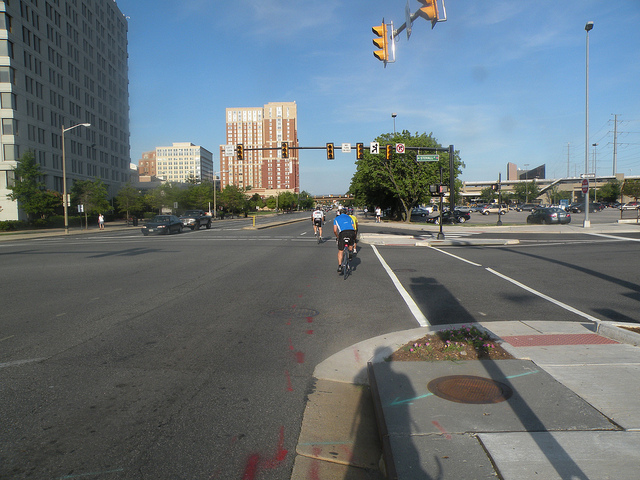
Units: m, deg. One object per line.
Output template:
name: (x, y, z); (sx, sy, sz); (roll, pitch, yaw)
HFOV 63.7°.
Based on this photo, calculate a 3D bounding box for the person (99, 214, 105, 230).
person: (-19.955, -1.555, 47.087); (0.371, 1.292, 1.375); (-5, 10, -23)

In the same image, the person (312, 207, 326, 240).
person: (-0.062, -0.984, 25.487); (0.881, 1.228, 1.895); (-1, 2, 2)

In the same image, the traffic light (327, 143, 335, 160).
traffic light: (0.648, -5.313, 31.014); (0.383, 0.887, 0.383); (-1, 9, 3)

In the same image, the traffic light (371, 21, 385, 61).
traffic light: (1.675, -5.434, 14.456); (0.312, 1.126, 0.258); (-3, -4, 4)

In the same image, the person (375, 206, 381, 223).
person: (6.260, -2.571, 55.826); (0.314, 1.398, 1.619); (0, 10, 11)

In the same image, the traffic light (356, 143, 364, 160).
traffic light: (2.434, -5.370, 31.288); (0.312, 0.874, 1.420); (0, 10, 9)

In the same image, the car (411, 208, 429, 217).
car: (15.326, -4.176, 79.303); (3.017, 1.184, 1.531); (1, 11, 9)

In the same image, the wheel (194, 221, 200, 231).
wheel: (-10.136, -1.157, 42.352); (0.237, 0.702, 0.666); (5, -1, 5)

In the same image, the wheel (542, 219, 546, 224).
wheel: (17.484, -1.427, 40.259); (0.158, 0.341, 0.430); (-2, 9, -1)

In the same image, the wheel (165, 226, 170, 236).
wheel: (-10.203, -0.623, 34.380); (0.175, 0.551, 0.524); (-7, 3, 7)

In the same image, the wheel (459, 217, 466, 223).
wheel: (14.458, -2.071, 52.563); (0.548, 0.585, 0.190); (-13, 9, -44)

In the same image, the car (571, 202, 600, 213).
car: (35.380, -4.238, 68.450); (2.976, 1.059, 3.644); (5, 12, 35)

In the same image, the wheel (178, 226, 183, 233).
wheel: (-10.152, -0.784, 37.354); (0.137, 0.431, 0.412); (-1, 11, 9)

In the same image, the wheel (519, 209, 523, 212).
wheel: (35.436, -5.257, 90.884); (0.448, 0.114, 0.469); (-11, -10, -2)

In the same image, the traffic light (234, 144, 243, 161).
traffic light: (-4.781, -5.131, 30.235); (0.400, 0.881, 2.406); (-3, 10, -11)

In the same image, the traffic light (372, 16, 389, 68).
traffic light: (1.712, -5.418, 14.354); (0.405, 1.102, 0.501); (-1, 9, 4)

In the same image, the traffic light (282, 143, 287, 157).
traffic light: (-2.049, -5.226, 30.098); (0.283, 0.801, 0.945); (-2, 9, -5)

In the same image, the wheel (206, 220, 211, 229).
wheel: (-9.772, -1.354, 44.881); (0.176, 0.507, 0.500); (-2, 31, 17)

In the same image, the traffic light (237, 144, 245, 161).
traffic light: (-4.667, -5.148, 30.076); (0.310, 0.798, 1.443); (-3, 10, -9)

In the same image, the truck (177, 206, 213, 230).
truck: (-10.617, -1.788, 44.007); (1.616, 1.722, 3.789); (0, -1, 10)

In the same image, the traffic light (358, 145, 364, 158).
traffic light: (2.410, -5.298, 30.911); (0.306, 0.732, 0.608); (-2, 9, -3)
